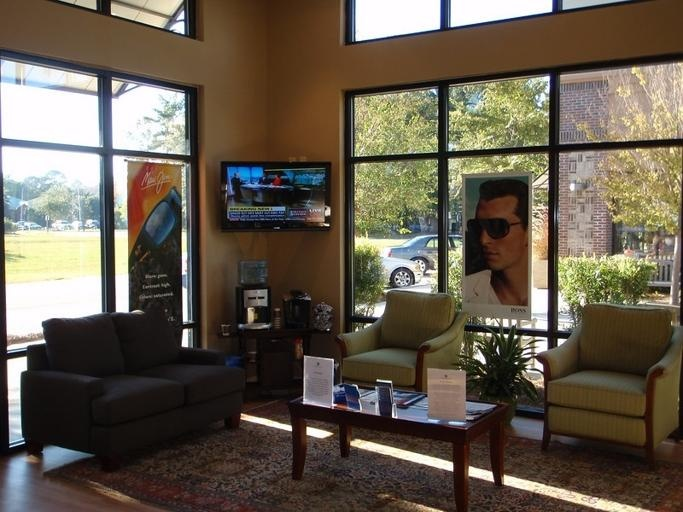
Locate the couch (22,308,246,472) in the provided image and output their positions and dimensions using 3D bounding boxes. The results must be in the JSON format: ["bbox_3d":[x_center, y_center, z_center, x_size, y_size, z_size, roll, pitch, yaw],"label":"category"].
[{"bbox_3d":[-2.018,1.188,5.299,1.256,1.298,1.804,-3,-3,29],"label":"couch"}]

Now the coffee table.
[{"bbox_3d":[0.465,1.493,4.529,1.610,0.691,0.700,2,5,23],"label":"coffee table"}]

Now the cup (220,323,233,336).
[{"bbox_3d":[-1.403,0.897,6.720,0.147,0.123,0.136,0,-1,0],"label":"cup"}]

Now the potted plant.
[{"bbox_3d":[1.770,1.144,5.957,1.088,1.149,0.990,2,4,36],"label":"potted plant"}]

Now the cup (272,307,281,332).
[{"bbox_3d":[-0.814,0.789,6.931,0.107,0.220,0.361,-1,4,-8],"label":"cup"}]
